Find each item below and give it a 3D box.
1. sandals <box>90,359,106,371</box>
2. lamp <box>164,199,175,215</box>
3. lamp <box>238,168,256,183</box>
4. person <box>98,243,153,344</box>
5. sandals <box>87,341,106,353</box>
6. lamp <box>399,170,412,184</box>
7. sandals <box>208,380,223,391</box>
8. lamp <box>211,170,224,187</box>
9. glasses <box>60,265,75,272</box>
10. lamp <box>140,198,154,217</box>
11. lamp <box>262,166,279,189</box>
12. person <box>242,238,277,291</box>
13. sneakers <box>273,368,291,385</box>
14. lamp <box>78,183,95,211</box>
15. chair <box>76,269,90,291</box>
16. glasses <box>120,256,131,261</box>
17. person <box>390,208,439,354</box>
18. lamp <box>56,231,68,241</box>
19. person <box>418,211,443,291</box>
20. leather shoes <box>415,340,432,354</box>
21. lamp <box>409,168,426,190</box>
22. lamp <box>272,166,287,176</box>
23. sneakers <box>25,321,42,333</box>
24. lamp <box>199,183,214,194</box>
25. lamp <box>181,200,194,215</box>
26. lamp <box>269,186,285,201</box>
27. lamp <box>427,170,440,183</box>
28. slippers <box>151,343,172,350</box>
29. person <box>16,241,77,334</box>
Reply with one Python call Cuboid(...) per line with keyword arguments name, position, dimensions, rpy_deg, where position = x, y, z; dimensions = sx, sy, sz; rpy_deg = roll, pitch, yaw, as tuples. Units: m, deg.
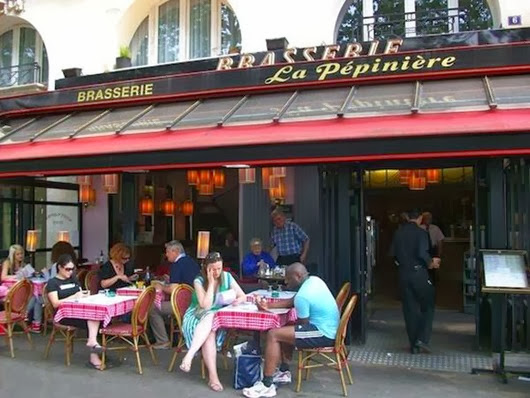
Cuboid(name="sandals", position=(-2.588, 2.552, 8.443), dimensions=(0.210, 0.073, 0.117), rpy_deg=(2, -4, 16))
Cuboid(name="lamp", position=(-3.170, 0.262, 18.273), dimensions=(0.468, 0.641, 0.430), rpy_deg=(0, -4, -7))
Cuboid(name="lamp", position=(-0.356, -0.480, 11.236), dimensions=(0.302, 0.300, 0.288), rpy_deg=(-1, -2, 19))
Cuboid(name="person", position=(-2.586, 1.447, 9.676), dimensions=(0.618, 1.282, 0.690), rpy_deg=(-3, 13, -33))
Cuboid(name="sandals", position=(-2.534, 2.228, 8.224), dimensions=(0.325, 0.119, 0.128), rpy_deg=(-4, -8, 42))
Cuboid(name="lamp", position=(3.626, -0.576, 14.166), dimensions=(0.346, 0.388, 0.343), rpy_deg=(0, -3, 14))
Cuboid(name="sandals", position=(-0.686, 2.601, 7.638), dimensions=(0.205, 0.121, 0.120), rpy_deg=(0, 7, 7))
Cuboid(name="lamp", position=(-1.105, -0.468, 12.632), dimensions=(0.341, 0.563, 0.362), rpy_deg=(-1, 0, -7))
Cuboid(name="glasses", position=(-3.212, 1.135, 8.865), dimensions=(0.191, 0.061, 0.191), rpy_deg=(5, -2, 44))
Cuboid(name="lamp", position=(-3.701, 0.265, 17.052), dimensions=(0.500, 0.732, 0.550), rpy_deg=(3, -6, -28))
Cuboid(name="lamp", position=(0.094, -0.440, 11.510), dimensions=(0.391, 0.440, 0.393), rpy_deg=(0, -7, -6))
Cuboid(name="person", position=(-0.099, 1.420, 10.731), dimensions=(0.678, 1.249, 0.637), rpy_deg=(-5, 7, -26))
Cuboid(name="sneakers", position=(0.246, 2.553, 7.796), dimensions=(0.355, 0.170, 0.127), rpy_deg=(1, -5, 4))
Cuboid(name="lamp", position=(-4.476, -0.035, 13.798), dimensions=(0.399, 0.741, 0.994), rpy_deg=(-3, 7, -18))
Cuboid(name="chair", position=(-3.403, 1.500, 10.159), dimensions=(0.353, 0.360, 0.353), rpy_deg=(1, 1, 2))
Cuboid(name="glasses", position=(-2.482, 1.055, 9.655), dimensions=(0.095, 0.094, 0.031), rpy_deg=(3, 17, -44))
Cuboid(name="person", position=(2.539, 1.357, 9.224), dimensions=(0.649, 2.306, 0.883), rpy_deg=(-2, 7, -12))
Cuboid(name="lamp", position=(-4.704, 0.858, 12.680), dimensions=(0.243, 0.266, 0.234), rpy_deg=(-1, 2, -24))
Cuboid(name="person", position=(3.799, 1.221, 12.516), dimensions=(0.735, 1.754, 0.528), rpy_deg=(-7, 16, -5))
Cuboid(name="leather shoes", position=(2.610, 2.435, 8.992), dimensions=(0.349, 0.148, 0.127), rpy_deg=(41, -8, -27))
Cuboid(name="lamp", position=(3.758, -0.494, 13.648), dimensions=(0.437, 0.477, 0.438), rpy_deg=(0, -8, 4))
Cuboid(name="lamp", position=(0.281, -0.561, 11.374), dimensions=(0.280, 0.238, 0.608), rpy_deg=(-1, 6, 0))
Cuboid(name="sneakers", position=(-4.390, 2.428, 10.355), dimensions=(0.256, 0.099, 0.158), rpy_deg=(14, -11, -19))
Cuboid(name="lamp", position=(-1.333, -0.230, 12.453), dimensions=(0.249, 0.264, 0.245), rpy_deg=(0, -3, -5))
Cuboid(name="lamp", position=(-2.582, 0.306, 18.323), dimensions=(0.317, 0.556, 0.795), rpy_deg=(-2, 7, -12))
Cuboid(name="lamp", position=(0.261, -0.109, 12.039), dimensions=(0.271, 0.361, 0.371), rpy_deg=(-1, -4, 21))
Cuboid(name="lamp", position=(4.243, -0.587, 13.829), dimensions=(0.352, 0.386, 0.354), rpy_deg=(-1, -3, 13))
Cuboid(name="slippers", position=(-1.756, 2.489, 9.314), dimensions=(0.332, 0.140, 0.122), rpy_deg=(4, -7, 5))
Cuboid(name="person", position=(-4.202, 1.706, 10.689), dimensions=(0.902, 1.489, 0.812), rpy_deg=(-2, 23, -33))
